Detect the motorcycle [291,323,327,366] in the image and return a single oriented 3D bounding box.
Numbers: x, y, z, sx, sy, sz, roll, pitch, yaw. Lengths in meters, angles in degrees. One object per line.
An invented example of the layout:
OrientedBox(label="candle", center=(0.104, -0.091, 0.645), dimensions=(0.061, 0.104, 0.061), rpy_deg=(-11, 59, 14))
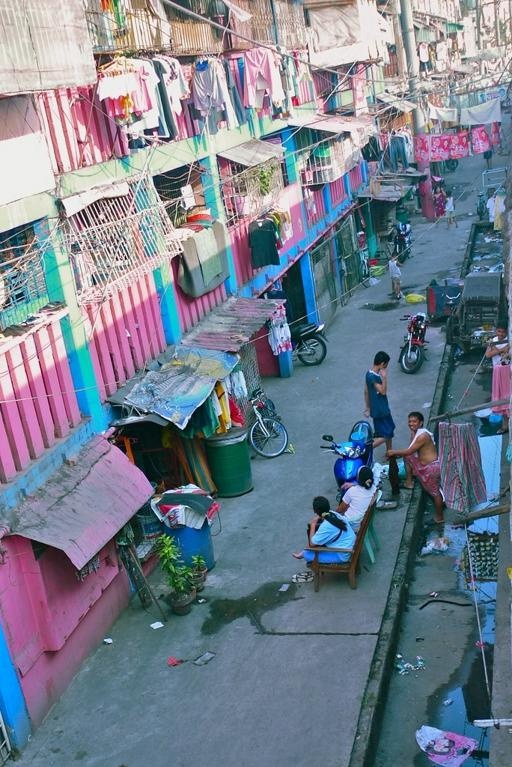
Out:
OrientedBox(label="motorcycle", center=(1.387, -1.080, 16.626), dimensions=(1.188, 0.789, 0.702), rpy_deg=(2, 25, 10))

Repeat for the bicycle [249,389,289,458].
OrientedBox(label="bicycle", center=(0.148, 0.800, 11.976), dimensions=(0.694, 0.979, 0.874), rpy_deg=(-11, 11, -7))

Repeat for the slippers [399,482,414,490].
OrientedBox(label="slippers", center=(2.252, 1.498, 9.731), dimensions=(0.262, 0.107, 0.096), rpy_deg=(7, 27, 29))

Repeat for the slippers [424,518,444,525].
OrientedBox(label="slippers", center=(2.491, 1.916, 9.083), dimensions=(0.202, 0.071, 0.115), rpy_deg=(2, 7, 9))

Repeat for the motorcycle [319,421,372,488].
OrientedBox(label="motorcycle", center=(1.321, 1.031, 9.509), dimensions=(0.586, 0.710, 1.217), rpy_deg=(0, 19, 19))

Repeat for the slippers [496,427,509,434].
OrientedBox(label="slippers", center=(4.385, 0.817, 11.500), dimensions=(0.249, 0.078, 0.111), rpy_deg=(-7, -25, 37))

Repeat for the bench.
OrientedBox(label="bench", center=(1.057, 1.831, 7.750), dimensions=(0.977, 1.297, 0.934), rpy_deg=(0, 5, 8))

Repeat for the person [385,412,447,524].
OrientedBox(label="person", center=(2.282, 1.261, 9.297), dimensions=(1.074, 2.066, 0.744), rpy_deg=(1, 26, 17))

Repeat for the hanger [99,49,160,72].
OrientedBox(label="hanger", center=(-1.582, -3.944, 7.879), dimensions=(0.134, 0.282, 1.720), rpy_deg=(-16, 19, 26))

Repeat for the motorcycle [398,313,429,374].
OrientedBox(label="motorcycle", center=(3.658, -0.963, 15.184), dimensions=(0.675, 1.245, 1.283), rpy_deg=(-7, 11, 16))
